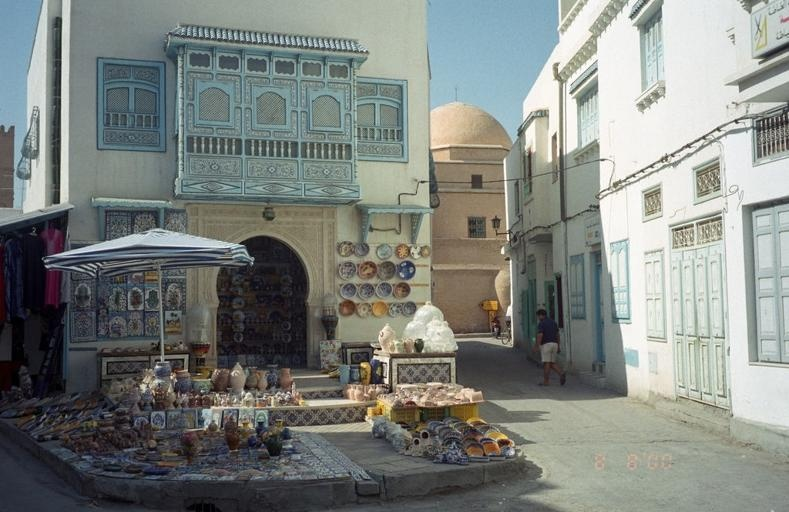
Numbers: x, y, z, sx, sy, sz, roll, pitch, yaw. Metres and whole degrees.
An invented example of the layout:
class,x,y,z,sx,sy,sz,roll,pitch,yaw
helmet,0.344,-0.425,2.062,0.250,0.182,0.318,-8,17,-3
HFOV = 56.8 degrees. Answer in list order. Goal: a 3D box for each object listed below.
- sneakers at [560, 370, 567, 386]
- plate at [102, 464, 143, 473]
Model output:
class,x,y,z,sx,sy,sz,roll,pitch,yaw
sneakers,4.237,3.013,18.468,0.132,0.357,0.149,-1,11,-1
plate,-4.051,3.137,10.953,0.359,0.078,0.229,9,-5,1
